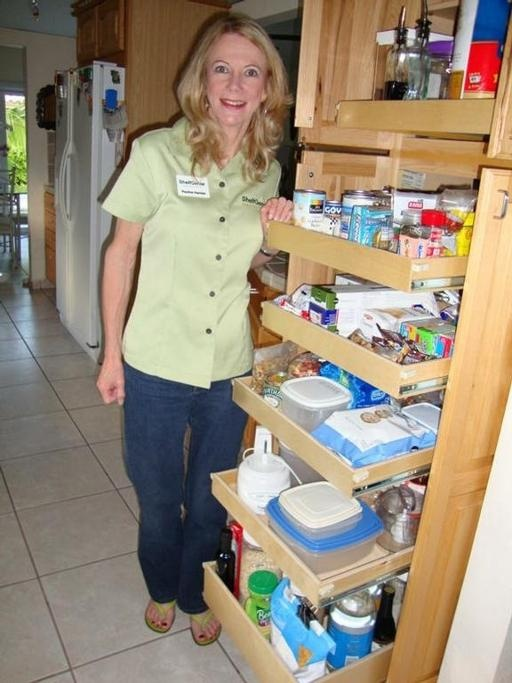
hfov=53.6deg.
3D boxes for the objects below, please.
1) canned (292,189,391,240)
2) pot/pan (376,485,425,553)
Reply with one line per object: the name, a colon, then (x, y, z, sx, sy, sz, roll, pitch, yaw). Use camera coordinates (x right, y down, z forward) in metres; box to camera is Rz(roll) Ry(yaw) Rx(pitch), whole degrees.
canned: (0.156, -0.245, 1.022, 0.186, 0.130, 0.106, 2, 29, -4)
pot/pan: (0.345, 0.413, 1.207, 0.087, 0.142, 0.150, 0, 14, -3)
